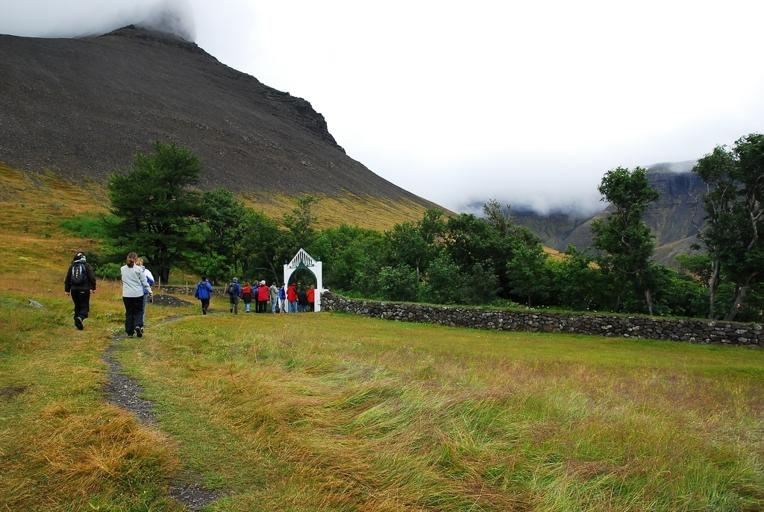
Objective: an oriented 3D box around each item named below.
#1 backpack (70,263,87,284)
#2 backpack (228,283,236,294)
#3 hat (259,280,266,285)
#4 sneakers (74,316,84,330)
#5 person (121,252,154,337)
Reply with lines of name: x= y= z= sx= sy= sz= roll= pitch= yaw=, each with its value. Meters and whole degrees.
backpack: x=-11.861 y=0.719 z=24.674 sx=0.543 sy=0.842 sz=0.247 roll=3 pitch=5 yaw=-27
backpack: x=-9.080 y=2.023 z=38.325 sx=0.263 sy=0.615 sz=0.373 roll=5 pitch=4 yaw=-5
hat: x=-8.799 y=1.992 z=46.445 sx=0.346 sy=0.477 sz=0.464 roll=6 pitch=-17 yaw=-3
sneakers: x=-11.782 y=2.635 z=24.584 sx=0.205 sy=0.542 sz=0.230 roll=-14 pitch=15 yaw=-26
person: x=-9.642 y=1.518 z=24.645 sx=0.987 sy=3.252 sz=0.653 roll=4 pitch=5 yaw=-24
